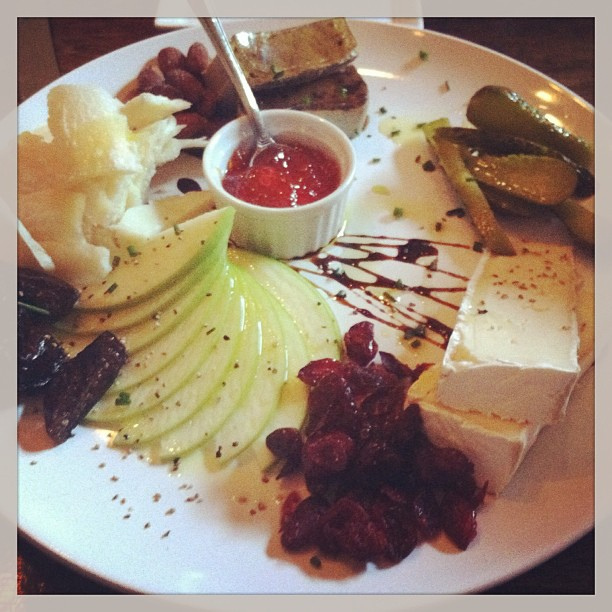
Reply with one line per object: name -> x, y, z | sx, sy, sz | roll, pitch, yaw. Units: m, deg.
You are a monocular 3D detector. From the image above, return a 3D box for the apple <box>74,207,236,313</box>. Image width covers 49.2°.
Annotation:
apple -> -0.414, -0.113, 1.800 | 0.352, 0.124, 0.255 | -7, 36, -3

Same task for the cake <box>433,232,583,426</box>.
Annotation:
cake -> 0.562, -0.004, 1.842 | 0.372, 0.197, 0.574 | 5, 52, 15

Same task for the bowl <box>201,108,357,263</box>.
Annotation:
bowl -> -0.071, -0.368, 1.978 | 0.429, 0.199, 0.408 | 2, 59, -3

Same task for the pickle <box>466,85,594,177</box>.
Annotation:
pickle -> 0.610, -0.543, 2.006 | 0.543, 0.152, 0.134 | 26, 57, 29

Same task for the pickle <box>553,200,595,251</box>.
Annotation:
pickle -> 0.739, -0.222, 1.818 | 0.071, 0.030, 0.133 | -42, 67, 13
